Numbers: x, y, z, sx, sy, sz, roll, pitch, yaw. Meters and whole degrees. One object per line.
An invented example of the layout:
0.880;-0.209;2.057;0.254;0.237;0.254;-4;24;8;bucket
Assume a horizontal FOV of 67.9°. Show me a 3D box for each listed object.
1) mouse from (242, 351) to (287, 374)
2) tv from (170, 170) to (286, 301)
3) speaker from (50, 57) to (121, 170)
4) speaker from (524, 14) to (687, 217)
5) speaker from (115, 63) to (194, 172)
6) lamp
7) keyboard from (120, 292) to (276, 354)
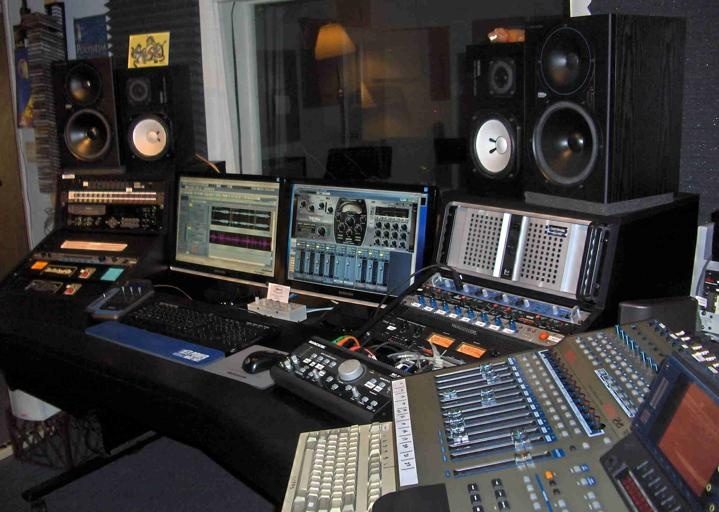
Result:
-0.322;0.350;1.790;0.074;0.128;0.045;18;-63;40;mouse
-0.598;-0.127;2.427;0.562;0.495;0.572;6;-58;-5;tv
-1.387;-0.744;2.849;0.342;0.301;0.547;-3;-79;0;speaker
0.842;-0.522;1.888;0.373;0.388;0.573;-14;-69;-24;speaker
-1.041;-0.701;2.843;0.437;0.391;0.490;-6;-89;39;speaker
-0.145;-1.039;3.191;0.229;0.256;0.625;3;-57;-3;lamp
-0.628;0.265;2.103;0.431;0.178;0.077;12;-61;31;keyboard
